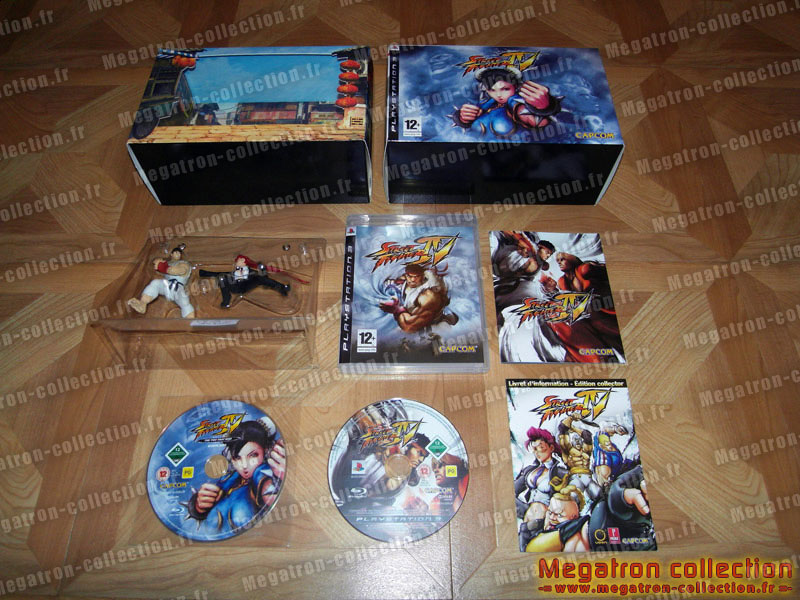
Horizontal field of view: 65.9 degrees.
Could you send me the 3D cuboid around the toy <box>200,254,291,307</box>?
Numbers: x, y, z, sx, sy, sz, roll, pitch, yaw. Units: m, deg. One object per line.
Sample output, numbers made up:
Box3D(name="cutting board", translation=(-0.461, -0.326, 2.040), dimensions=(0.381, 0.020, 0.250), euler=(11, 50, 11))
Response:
Box3D(name="toy", translation=(-0.481, -0.055, 1.886), dimensions=(0.301, 0.074, 0.152), euler=(8, 92, -31))
